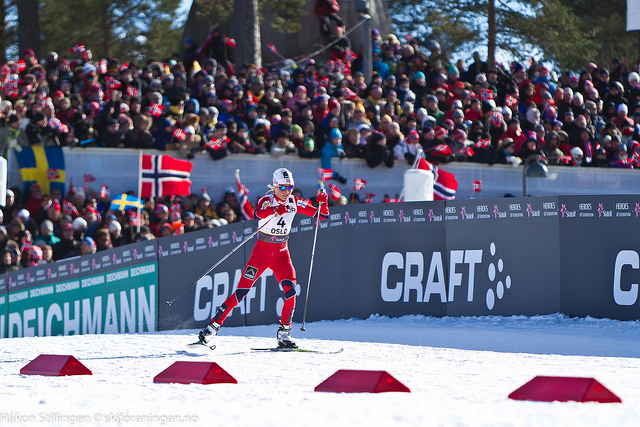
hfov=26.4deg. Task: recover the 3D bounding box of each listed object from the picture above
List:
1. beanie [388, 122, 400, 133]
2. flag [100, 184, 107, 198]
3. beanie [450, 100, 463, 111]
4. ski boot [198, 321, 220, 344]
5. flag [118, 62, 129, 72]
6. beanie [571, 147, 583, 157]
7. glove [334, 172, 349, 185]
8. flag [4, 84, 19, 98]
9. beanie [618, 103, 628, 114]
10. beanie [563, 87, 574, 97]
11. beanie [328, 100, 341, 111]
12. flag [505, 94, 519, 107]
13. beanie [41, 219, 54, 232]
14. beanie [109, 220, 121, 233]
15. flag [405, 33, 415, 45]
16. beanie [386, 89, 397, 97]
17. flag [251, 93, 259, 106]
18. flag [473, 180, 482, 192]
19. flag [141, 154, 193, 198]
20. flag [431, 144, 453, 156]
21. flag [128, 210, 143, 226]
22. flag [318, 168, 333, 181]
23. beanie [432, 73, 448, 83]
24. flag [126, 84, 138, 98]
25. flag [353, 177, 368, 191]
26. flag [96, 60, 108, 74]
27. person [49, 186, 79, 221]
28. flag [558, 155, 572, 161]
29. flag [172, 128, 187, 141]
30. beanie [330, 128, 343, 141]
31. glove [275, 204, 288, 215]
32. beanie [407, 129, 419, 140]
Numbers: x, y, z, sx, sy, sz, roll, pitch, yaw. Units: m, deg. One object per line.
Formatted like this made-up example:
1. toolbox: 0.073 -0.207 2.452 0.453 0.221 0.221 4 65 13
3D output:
1. beanie: 1.877 -2.170 34.548 0.217 0.183 0.227 1 3 39
2. flag: -5.072 -0.503 32.318 0.138 0.278 0.061 6 -2 -4
3. beanie: 3.607 -2.865 36.090 0.206 0.276 0.289 17 -12 11
4. ski boot: -2.261 2.497 28.503 0.272 0.458 0.338 48 10 22
5. flag: -5.011 -3.768 35.165 0.198 0.238 0.728 42 -6 -3
6. beanie: 6.824 -1.615 36.203 0.365 0.252 0.218 -2 1 -34
7. glove: 0.554 -0.832 33.927 0.398 0.318 0.145 2 16 -6
8. flag: -7.377 -2.935 32.813 0.300 0.320 0.084 8 -2 -18
9. beanie: 8.465 -2.953 38.329 0.241 0.263 0.525 -1 1 13
10. beanie: 6.891 -3.375 37.919 0.269 0.242 0.513 -1 1 11
11. beanie: 0.364 -2.715 34.355 0.282 0.270 0.188 -2 1 -1
12. flag: 5.196 -3.068 37.160 0.337 0.357 0.250 -1 1 8
13. beanie: -6.167 0.292 31.160 0.180 0.252 0.204 -1 8 -6
14. beanie: -4.651 0.320 31.493 0.185 0.200 0.396 -1 1 19
15. flag: 2.526 -4.962 38.800 0.252 0.275 0.258 15 -35 18
16. beanie: 1.875 -3.138 35.749 0.256 0.204 0.471 -1 1 4
17. flag: -1.593 -2.895 34.404 0.177 0.293 0.388 -2 1 -10
18. flag: 4.019 -0.692 34.914 0.223 0.350 0.257 -3 -3 41
19. flag: -3.677 -0.875 32.660 0.897 0.909 0.118 6 -25 -20
20. flag: 3.101 -1.598 34.630 0.573 0.291 0.157 -2 1 -24
21. flag: -4.273 0.116 31.901 0.329 0.263 0.314 -2 1 -8
22. flag: 0.150 -0.936 33.821 0.279 0.310 0.295 -3 -4 41
23. beanie: 3.207 -3.658 36.750 0.353 0.253 0.262 -1 1 4
24. flag: -4.612 -3.015 33.844 0.196 0.269 0.252 20 -58 -46
25. flag: 1.009 -0.737 34.143 0.279 0.323 0.072 0 -3 -12
26. flag: -5.575 -3.765 35.069 0.300 0.401 0.325 0 4 6
27. person: -5.897 -0.226 31.856 0.569 0.604 1.228 -2 1 -18
28. flag: 6.477 -1.465 36.020 0.284 0.120 0.213 -3 3 -14
29. flag: -3.357 -1.917 33.050 0.296 0.248 0.094 26 -17 -10
30. beanie: 0.434 -1.936 33.886 0.196 0.299 0.280 0 -11 32
31. glove: -0.794 -0.072 28.736 0.285 0.212 0.071 -2 1 -34
32. beanie: 2.367 -2.017 34.583 0.179 0.287 0.269 2 14 16
